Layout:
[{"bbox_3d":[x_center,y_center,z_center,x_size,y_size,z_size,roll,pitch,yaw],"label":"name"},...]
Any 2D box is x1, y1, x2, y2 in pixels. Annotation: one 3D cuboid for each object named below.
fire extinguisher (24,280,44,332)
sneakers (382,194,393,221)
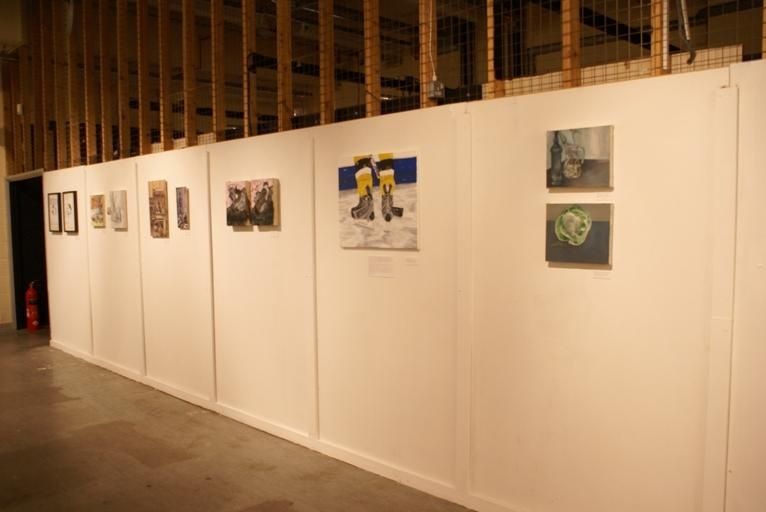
[{"bbox_3d":[-6.349,0.911,10.865,0.252,0.867,0.381,-7,12,-31],"label":"fire extinguisher"},{"bbox_3d":[0.035,-0.420,5.233,0.072,0.245,0.097,-2,-4,9],"label":"sneakers"}]
